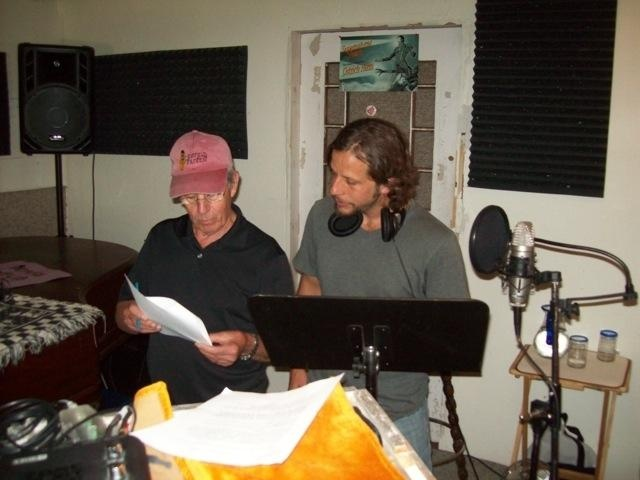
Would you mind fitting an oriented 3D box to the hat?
[{"bbox_3d":[-0.595,-0.403,2.430,0.315,0.259,0.487,-3,30,0],"label":"hat"}]

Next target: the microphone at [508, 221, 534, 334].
[{"bbox_3d":[0.867,0.158,2.210,0.104,0.472,0.278,4,7,21],"label":"microphone"}]

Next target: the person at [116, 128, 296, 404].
[{"bbox_3d":[-0.524,0.119,2.336,0.866,1.259,0.512,5,7,26],"label":"person"}]

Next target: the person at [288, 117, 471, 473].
[{"bbox_3d":[0.219,0.196,2.194,0.837,1.484,0.494,4,7,22],"label":"person"}]

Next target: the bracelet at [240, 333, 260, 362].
[{"bbox_3d":[-0.300,0.481,2.268,0.084,0.045,0.111,1,50,26],"label":"bracelet"}]

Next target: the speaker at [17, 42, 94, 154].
[{"bbox_3d":[-1.990,-1.065,3.992,0.610,0.836,0.541,0,1,1],"label":"speaker"}]

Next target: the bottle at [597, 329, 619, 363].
[{"bbox_3d":[1.641,0.609,2.911,0.101,0.173,0.102,8,-6,1],"label":"bottle"}]

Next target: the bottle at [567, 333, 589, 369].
[{"bbox_3d":[1.449,0.624,2.855,0.133,0.160,0.118,2,6,6],"label":"bottle"}]

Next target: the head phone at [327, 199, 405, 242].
[{"bbox_3d":[0.217,-0.110,2.283,0.328,0.136,0.317,9,19,15],"label":"head phone"}]
